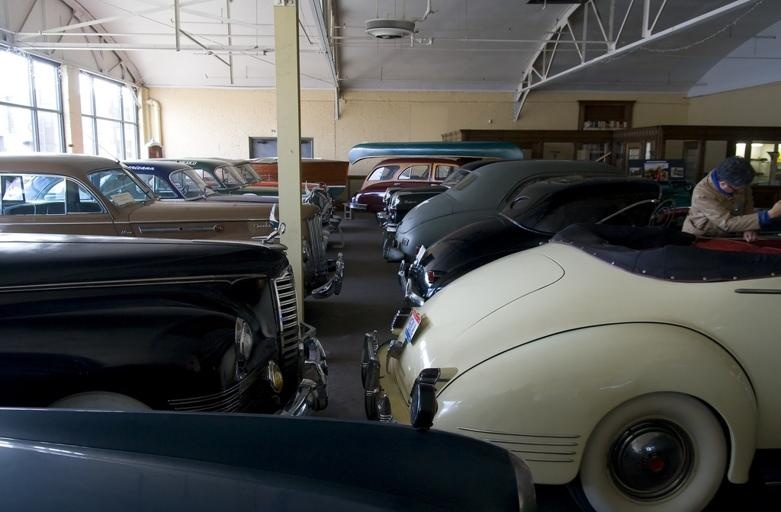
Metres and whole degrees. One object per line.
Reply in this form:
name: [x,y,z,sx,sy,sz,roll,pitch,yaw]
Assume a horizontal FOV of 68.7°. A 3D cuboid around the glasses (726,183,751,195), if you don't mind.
glasses: [2.864,-0.558,4.724,0.119,0.036,0.116,-11,14,-29]
